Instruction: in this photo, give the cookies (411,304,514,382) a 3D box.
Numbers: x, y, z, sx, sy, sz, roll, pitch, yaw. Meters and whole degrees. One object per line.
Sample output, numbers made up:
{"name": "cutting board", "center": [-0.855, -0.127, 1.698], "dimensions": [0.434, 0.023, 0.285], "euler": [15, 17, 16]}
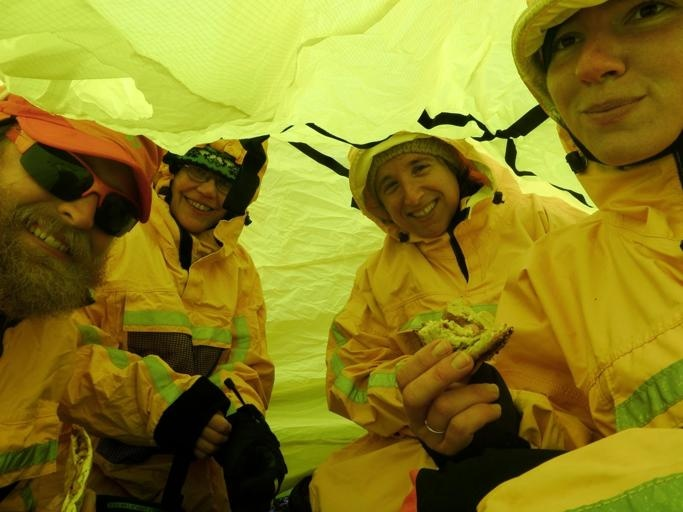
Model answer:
{"name": "cookies", "center": [0.474, 0.308, 2.275], "dimensions": [0.222, 0.231, 0.118], "euler": [-8, -58, 40]}
